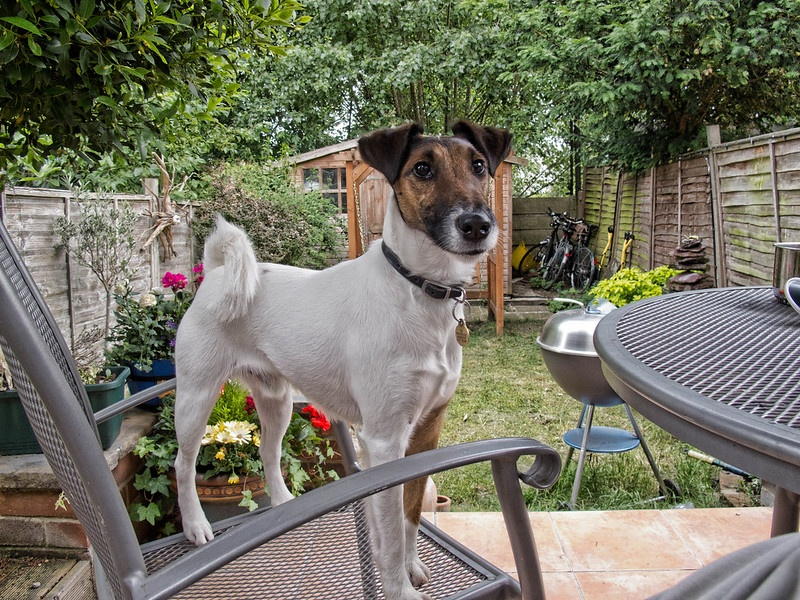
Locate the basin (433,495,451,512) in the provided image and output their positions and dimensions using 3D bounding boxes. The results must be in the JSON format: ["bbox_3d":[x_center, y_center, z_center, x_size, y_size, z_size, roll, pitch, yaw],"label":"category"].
[{"bbox_3d":[0.231,1.110,3.066,0.086,0.092,0.099,1,5,-1],"label":"basin"}]

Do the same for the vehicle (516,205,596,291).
[{"bbox_3d":[3.242,-0.953,11.358,0.910,1.300,2.281,20,11,-22],"label":"vehicle"}]

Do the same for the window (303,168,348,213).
[{"bbox_3d":[-1.444,-2.088,10.810,0.085,1.083,1.248,-1,3,35],"label":"window"}]

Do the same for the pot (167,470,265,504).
[{"bbox_3d":[-0.815,0.877,2.636,0.228,0.157,0.233,0,-13,0],"label":"pot"}]

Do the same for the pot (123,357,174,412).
[{"bbox_3d":[-1.378,0.441,3.161,0.292,0.260,0.332,1,-1,-16],"label":"pot"}]
